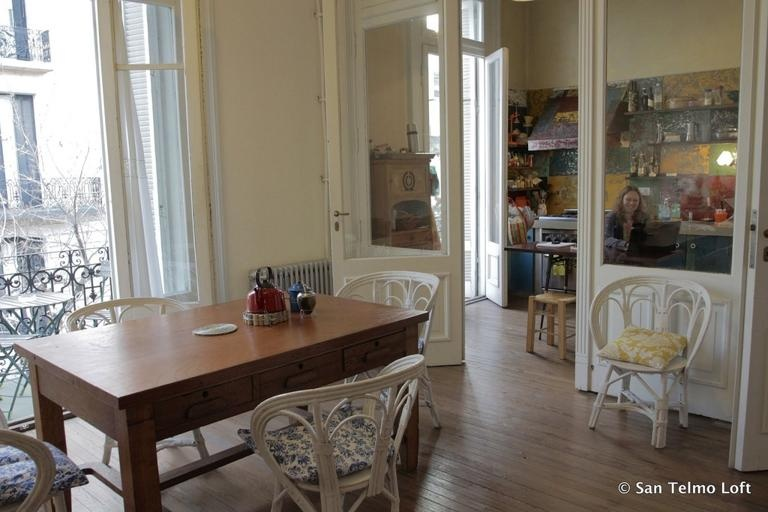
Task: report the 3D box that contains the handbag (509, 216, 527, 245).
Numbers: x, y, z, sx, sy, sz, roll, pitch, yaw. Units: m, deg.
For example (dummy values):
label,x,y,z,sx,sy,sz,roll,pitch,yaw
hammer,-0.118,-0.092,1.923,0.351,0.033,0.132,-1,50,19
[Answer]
label,x,y,z,sx,sy,sz,roll,pitch,yaw
handbag,1.726,-0.345,7.571,0.189,0.332,0.383,10,16,38

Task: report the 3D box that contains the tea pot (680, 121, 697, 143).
label,x,y,z,sx,sy,sz,roll,pitch,yaw
tea pot,2.171,-0.883,4.124,0.088,0.146,0.036,5,15,22

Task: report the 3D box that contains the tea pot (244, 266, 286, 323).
label,x,y,z,sx,sy,sz,roll,pitch,yaw
tea pot,-0.686,0.244,3.673,0.337,0.332,0.310,0,4,0

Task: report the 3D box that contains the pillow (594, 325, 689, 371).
label,x,y,z,sx,sy,sz,roll,pitch,yaw
pillow,1.821,0.634,4.083,0.482,0.166,0.412,-11,16,-41

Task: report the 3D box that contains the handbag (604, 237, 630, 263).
label,x,y,z,sx,sy,sz,roll,pitch,yaw
handbag,1.773,-0.040,4.474,0.200,0.173,0.046,13,11,40

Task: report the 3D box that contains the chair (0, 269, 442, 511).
label,x,y,z,sx,sy,sz,roll,pitch,yaw
chair,-0.928,0.766,3.405,2.046,0.694,1.049,-7,14,-27

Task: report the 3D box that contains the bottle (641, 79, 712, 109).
label,x,y,z,sx,sy,sz,roll,pitch,yaw
bottle,2.095,-1.179,4.157,0.481,0.231,0.082,6,15,25

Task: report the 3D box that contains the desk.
label,x,y,z,sx,sy,sz,roll,pitch,yaw
desk,1.868,0.357,6.970,1.017,0.923,1.027,3,6,41
